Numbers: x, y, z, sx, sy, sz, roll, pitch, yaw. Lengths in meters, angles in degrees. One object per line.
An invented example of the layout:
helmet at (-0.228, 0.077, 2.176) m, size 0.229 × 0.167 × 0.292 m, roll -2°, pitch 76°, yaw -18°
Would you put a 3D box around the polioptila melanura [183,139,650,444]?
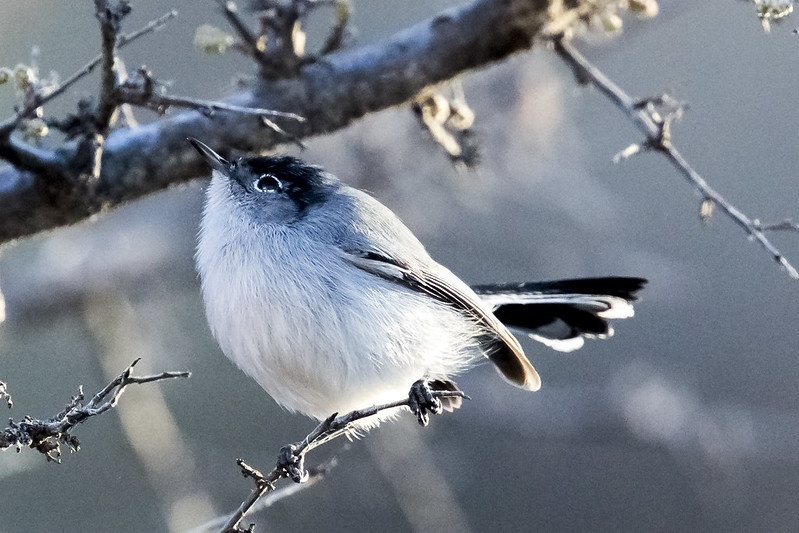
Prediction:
polioptila melanura at (0.081, 0.085, 3.074) m, size 0.546 × 1.270 × 0.702 m, roll -28°, pitch 63°, yaw 54°
